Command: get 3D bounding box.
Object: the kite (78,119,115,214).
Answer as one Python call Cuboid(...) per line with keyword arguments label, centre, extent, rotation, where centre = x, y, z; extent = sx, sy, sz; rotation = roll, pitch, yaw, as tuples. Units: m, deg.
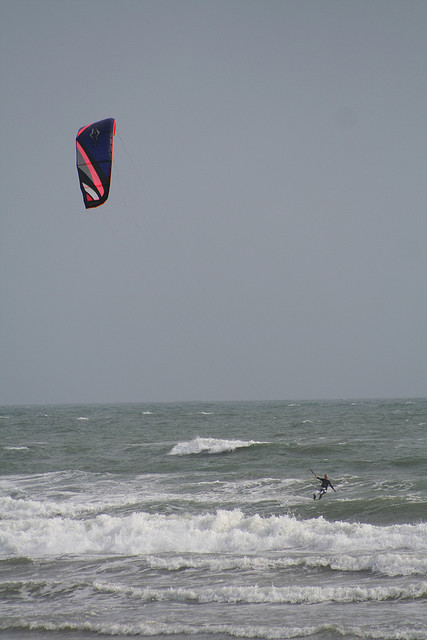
Cuboid(label="kite", centre=(-2.977, -3.960, 28.407), extent=(0.759, 2.364, 1.344), rotation=(1, 0, -43))
